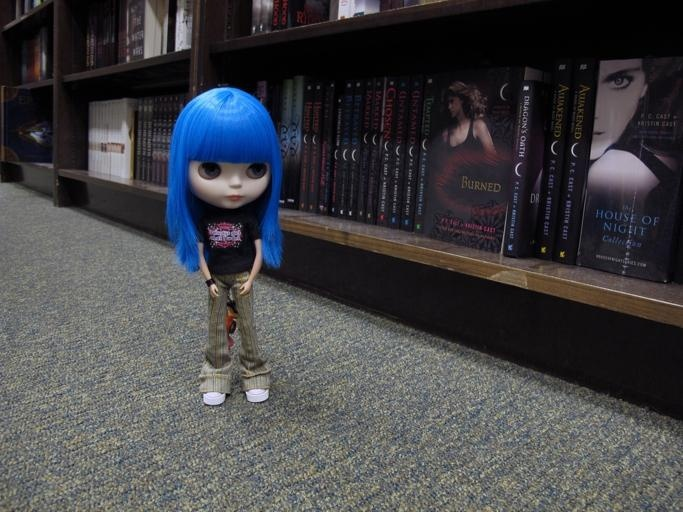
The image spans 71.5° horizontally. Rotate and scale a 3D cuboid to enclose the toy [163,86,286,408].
[{"bbox_3d":[-0.209,-0.021,0.873,0.211,0.552,0.174,-3,15,-19],"label":"toy"}]
